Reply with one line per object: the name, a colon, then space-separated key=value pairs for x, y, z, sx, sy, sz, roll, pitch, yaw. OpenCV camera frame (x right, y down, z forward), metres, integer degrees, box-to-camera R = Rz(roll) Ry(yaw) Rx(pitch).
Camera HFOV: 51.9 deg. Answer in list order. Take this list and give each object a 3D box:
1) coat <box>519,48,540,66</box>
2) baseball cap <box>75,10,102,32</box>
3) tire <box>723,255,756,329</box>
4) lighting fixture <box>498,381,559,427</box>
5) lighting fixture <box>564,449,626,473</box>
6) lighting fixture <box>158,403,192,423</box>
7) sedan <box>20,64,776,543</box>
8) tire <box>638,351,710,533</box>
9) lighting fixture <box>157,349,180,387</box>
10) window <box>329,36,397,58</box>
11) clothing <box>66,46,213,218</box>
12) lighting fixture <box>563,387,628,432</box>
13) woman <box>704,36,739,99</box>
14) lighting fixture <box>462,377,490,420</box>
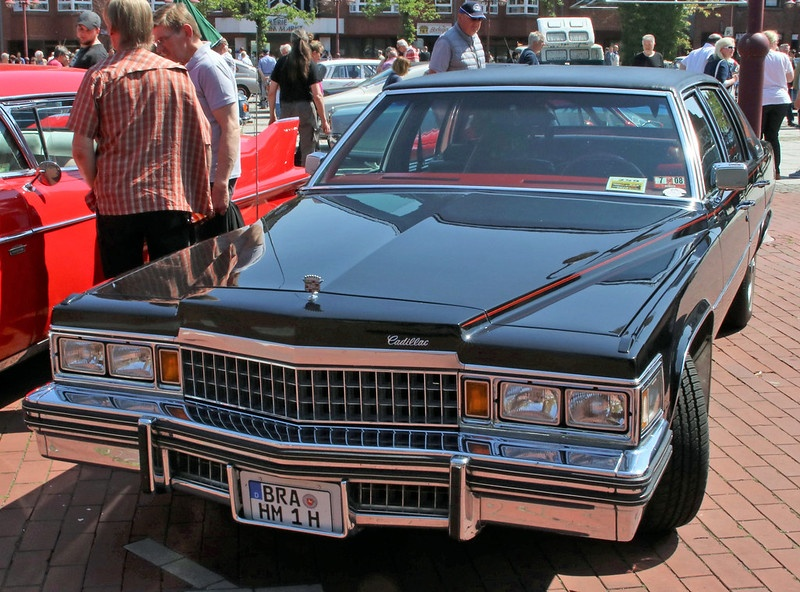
coat: x=2.044 y=-3.806 z=12.939 sx=0.279 sy=0.239 sz=0.691 roll=2 pitch=22 yaw=6
baseball cap: x=-3.117 y=-2.791 z=8.220 sx=0.225 sy=0.180 sz=0.325 roll=15 pitch=14 yaw=-8
tire: x=2.215 y=-0.033 z=5.372 sx=0.146 sy=0.416 sz=0.442 roll=8 pitch=28 yaw=42
lighting fixture: x=0.479 y=0.396 z=3.007 sx=0.215 sy=0.143 sz=0.037 roll=4 pitch=24 yaw=13
lighting fixture: x=0.691 y=0.583 z=2.909 sx=0.120 sy=0.027 sz=0.083 roll=3 pitch=8 yaw=35
lighting fixture: x=-0.896 y=0.470 z=3.307 sx=0.076 sy=0.011 sz=0.181 roll=-12 pitch=25 yaw=-27
sedan: x=-0.067 y=0.024 z=3.776 sx=1.925 sy=0.895 sz=3.104 roll=6 pitch=19 yaw=30
tire: x=1.256 y=0.656 z=3.728 sx=0.267 sy=0.693 sz=0.743 roll=8 pitch=9 yaw=14
lighting fixture: x=-0.947 y=0.296 z=3.392 sx=0.141 sy=0.130 sz=0.032 roll=3 pitch=6 yaw=31
window: x=-2.273 y=-16.872 z=54.944 sx=3.360 sy=1.192 sz=1.477 roll=-4 pitch=23 yaw=-8
clothing: x=-1.456 y=-0.925 z=4.690 sx=0.996 sy=0.994 sz=0.590 roll=-7 pitch=18 yaw=-21
lighting fixture: x=0.712 y=0.413 z=2.954 sx=0.175 sy=0.163 sz=0.042 roll=5 pitch=23 yaw=27
woman: x=4.857 y=-3.427 z=12.156 sx=0.267 sy=0.322 sz=0.828 roll=26 pitch=-11 yaw=26
lighting fixture: x=0.284 y=0.384 z=3.049 sx=0.113 sy=0.139 sz=0.039 roll=1 pitch=11 yaw=19
